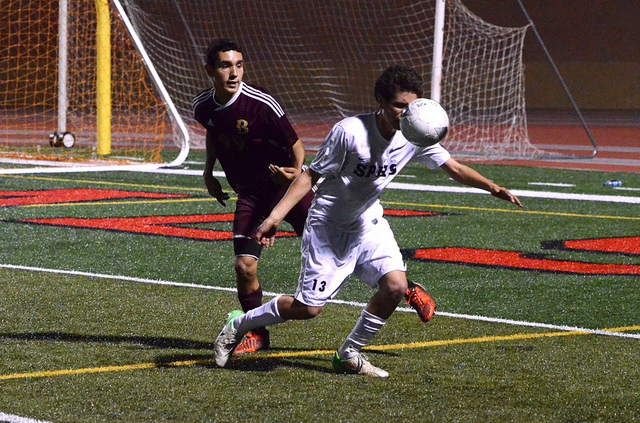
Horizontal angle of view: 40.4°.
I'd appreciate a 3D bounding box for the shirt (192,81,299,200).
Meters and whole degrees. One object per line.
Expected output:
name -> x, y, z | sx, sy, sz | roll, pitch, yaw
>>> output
shirt -> -0.549, -0.583, 6.965 | 0.923, 0.925, 0.496 | 3, 36, 28
